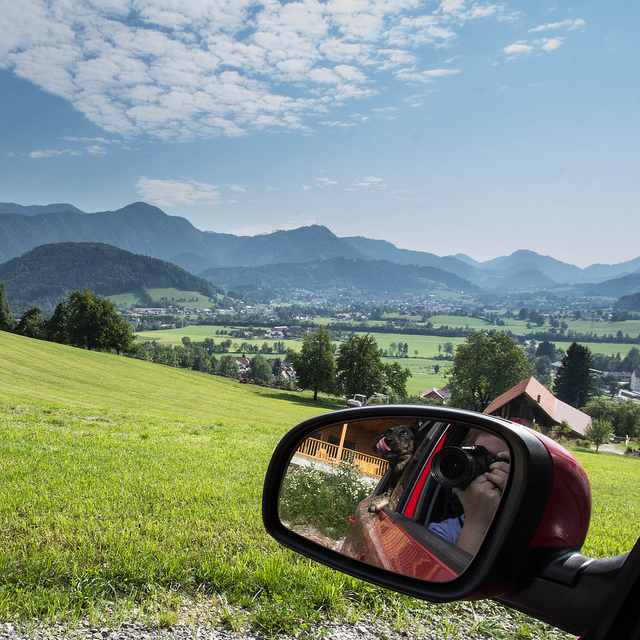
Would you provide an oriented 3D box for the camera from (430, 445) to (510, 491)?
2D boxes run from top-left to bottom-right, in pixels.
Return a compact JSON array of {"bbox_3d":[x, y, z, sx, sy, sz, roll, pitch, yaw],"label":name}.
[{"bbox_3d":[0.540,0.538,2.064,0.237,0.178,0.288,15,-14,-29],"label":"camera"}]
